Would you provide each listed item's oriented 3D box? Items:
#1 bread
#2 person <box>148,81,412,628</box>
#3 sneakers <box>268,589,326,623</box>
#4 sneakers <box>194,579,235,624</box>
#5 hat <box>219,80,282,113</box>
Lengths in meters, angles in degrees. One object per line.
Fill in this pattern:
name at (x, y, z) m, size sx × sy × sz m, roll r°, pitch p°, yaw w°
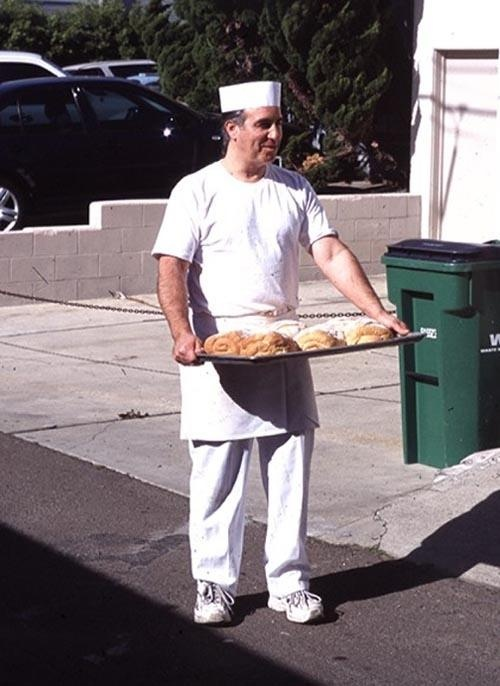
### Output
bread at (0.137, -0.014, 2.375) m, size 0.378 × 0.069 × 0.199 m, roll -7°, pitch 6°, yaw -27°
person at (0.071, 0.057, 2.608) m, size 0.725 × 1.750 × 0.551 m, roll -5°, pitch 11°, yaw -18°
sneakers at (0.161, 0.861, 2.670) m, size 0.093 × 0.069 × 0.183 m, roll 2°, pitch -5°, yaw -34°
sneakers at (-0.115, 0.848, 2.687) m, size 0.155 × 0.142 × 0.112 m, roll -1°, pitch 3°, yaw 15°
hat at (-0.008, -0.768, 2.548) m, size 0.155 × 0.064 × 0.122 m, roll -3°, pitch 5°, yaw 30°
